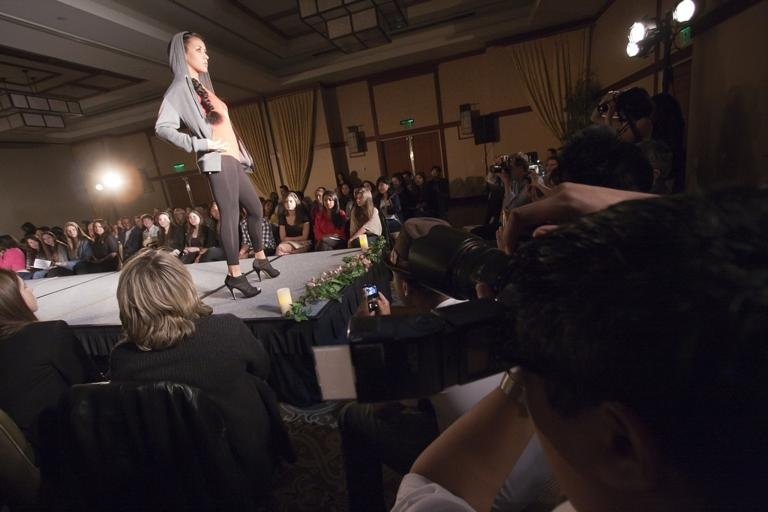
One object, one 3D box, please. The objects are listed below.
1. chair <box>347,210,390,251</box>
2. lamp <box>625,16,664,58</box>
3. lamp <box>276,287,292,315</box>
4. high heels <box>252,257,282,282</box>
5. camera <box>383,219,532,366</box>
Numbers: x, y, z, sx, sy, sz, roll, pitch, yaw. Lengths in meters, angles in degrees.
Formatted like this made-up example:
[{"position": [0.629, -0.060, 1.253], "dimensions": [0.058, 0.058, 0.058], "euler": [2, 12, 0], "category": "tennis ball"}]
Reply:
[{"position": [-0.210, -0.317, 5.490], "dimensions": [0.452, 0.791, 0.404], "euler": [-1, 0, -6], "category": "chair"}, {"position": [2.567, -2.210, 4.621], "dimensions": [0.214, 0.338, 0.513], "euler": [-3, 11, 23], "category": "lamp"}, {"position": [-0.752, 0.343, 3.496], "dimensions": [0.123, 0.204, 0.128], "euler": [4, 17, 15], "category": "lamp"}, {"position": [-1.037, 0.100, 4.147], "dimensions": [0.265, 0.196, 0.158], "euler": [-13, 27, -34], "category": "high heels"}, {"position": [0.316, 0.103, 1.952], "dimensions": [0.337, 0.522, 0.803], "euler": [-11, 11, -21], "category": "camera"}]
